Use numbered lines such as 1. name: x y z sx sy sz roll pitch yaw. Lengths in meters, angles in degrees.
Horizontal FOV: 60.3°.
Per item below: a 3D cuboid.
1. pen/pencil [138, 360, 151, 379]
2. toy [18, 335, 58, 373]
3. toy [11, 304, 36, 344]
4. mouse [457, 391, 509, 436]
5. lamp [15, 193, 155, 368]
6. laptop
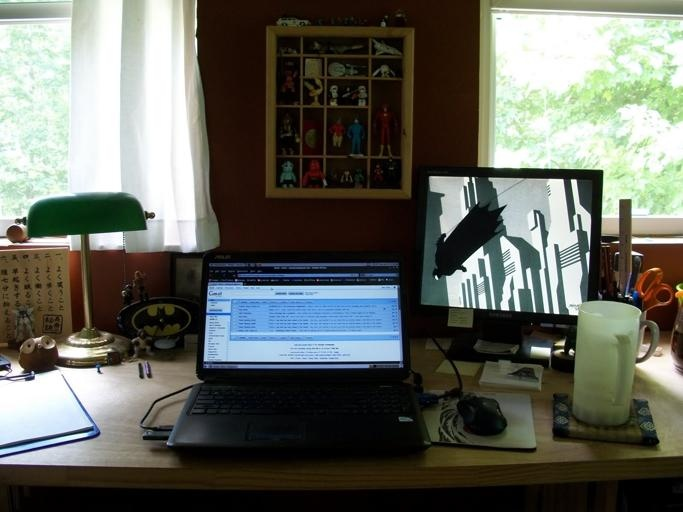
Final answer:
1. pen/pencil: -0.559 0.328 1.685 0.022 0.026 0.097 1 20 -11
2. toy: -0.877 0.291 1.718 0.099 0.107 0.104 -11 -16 -23
3. toy: -1.002 0.221 1.864 0.071 0.120 0.034 -9 20 -38
4. mouse: 0.348 0.387 1.458 0.119 0.057 0.169 -1 4 3
5. lamp: -0.784 0.080 1.817 0.451 0.624 0.354 -5 8 -41
6. laptop: -0.103 0.207 1.435 0.584 0.372 0.500 -1 9 -3
